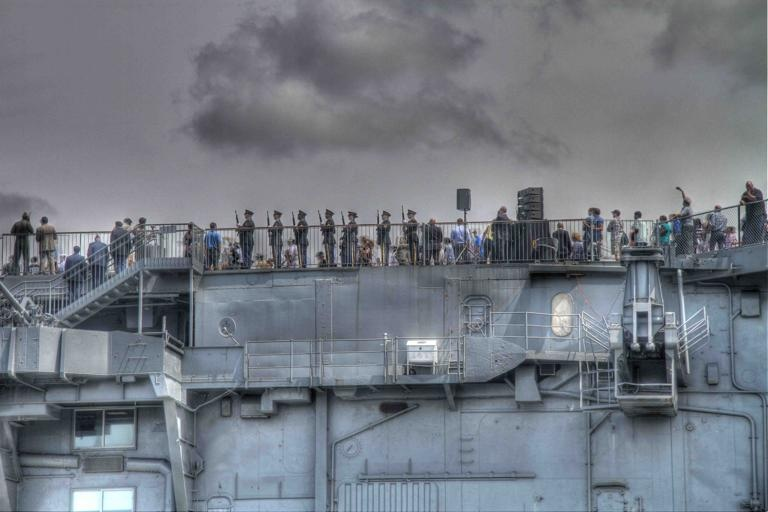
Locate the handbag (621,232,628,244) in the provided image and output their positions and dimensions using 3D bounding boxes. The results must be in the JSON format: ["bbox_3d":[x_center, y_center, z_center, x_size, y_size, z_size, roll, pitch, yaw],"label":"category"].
[{"bbox_3d":[11.382,-0.738,105.743,0.361,0.587,0.608,-2,-11,6],"label":"handbag"}]
